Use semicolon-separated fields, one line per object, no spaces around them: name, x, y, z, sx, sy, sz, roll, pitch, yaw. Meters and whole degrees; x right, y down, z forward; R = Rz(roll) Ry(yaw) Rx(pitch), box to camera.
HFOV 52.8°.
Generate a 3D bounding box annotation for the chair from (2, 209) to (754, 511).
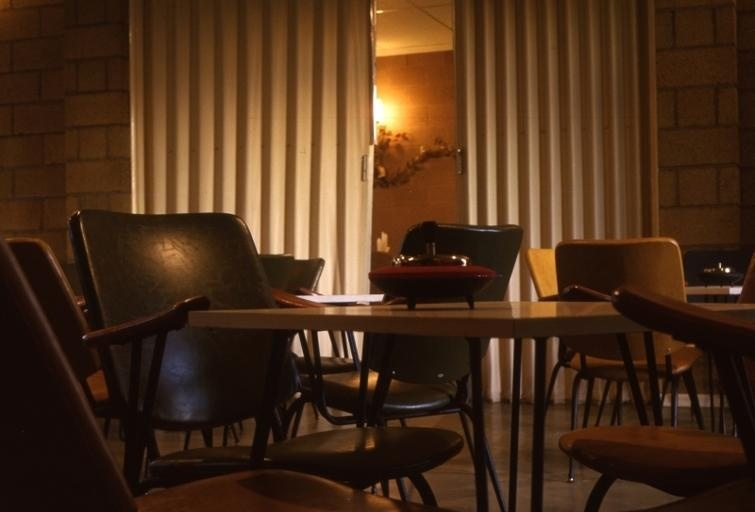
chair;-0.289;0.234;2.281;1.045;0.726;1.083;-2;-4;24
